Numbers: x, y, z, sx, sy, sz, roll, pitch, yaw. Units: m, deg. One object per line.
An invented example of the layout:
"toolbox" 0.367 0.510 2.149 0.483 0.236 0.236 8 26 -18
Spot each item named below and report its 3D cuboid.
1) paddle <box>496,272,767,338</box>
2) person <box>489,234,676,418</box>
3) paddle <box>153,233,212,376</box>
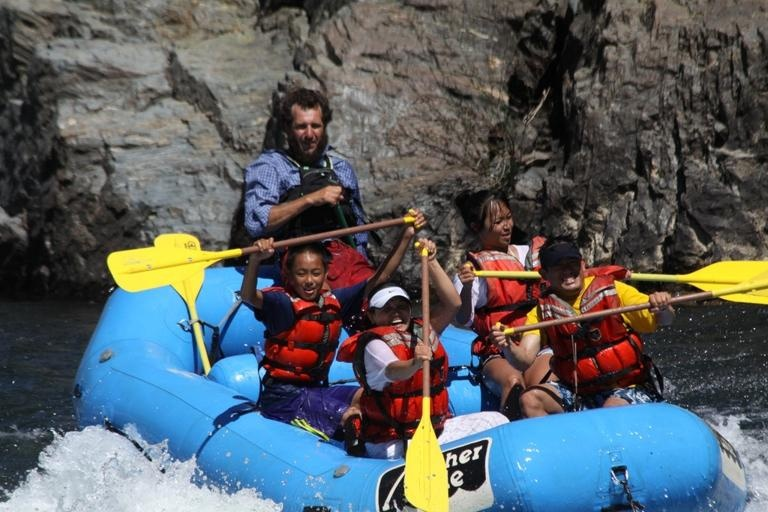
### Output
"paddle" 2.057 0.419 9.759 1.682 0.296 0.206 -11 -34 3
"person" 1.607 0.629 9.574 1.183 1.367 0.870 -17 -13 18
"paddle" -1.666 0.223 9.935 0.422 1.489 0.059 -14 -6 -14
